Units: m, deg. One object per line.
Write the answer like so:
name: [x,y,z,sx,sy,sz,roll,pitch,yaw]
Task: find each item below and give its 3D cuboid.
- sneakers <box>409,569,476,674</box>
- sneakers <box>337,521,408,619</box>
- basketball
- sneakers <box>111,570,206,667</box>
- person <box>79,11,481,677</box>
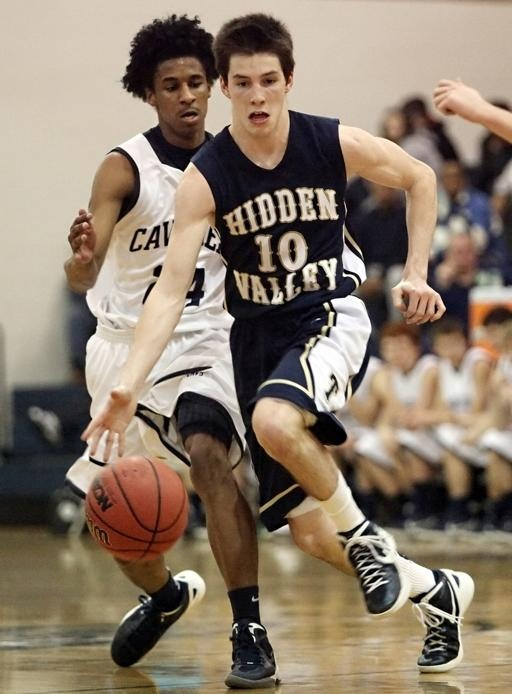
sneakers: [0.422,0.619,1.875,0.109,0.246,0.125,-10,-33,46]
sneakers: [0.257,0.451,1.647,0.134,0.158,0.149,-5,13,-8]
basketball: [-0.269,0.364,1.937,0.268,0.259,0.235,-1,12,-20]
sneakers: [-0.259,0.719,2.192,0.121,0.136,0.354,40,53,4]
person: [0.103,0.004,1.725,0.724,1.427,0.615,-1,13,11]
